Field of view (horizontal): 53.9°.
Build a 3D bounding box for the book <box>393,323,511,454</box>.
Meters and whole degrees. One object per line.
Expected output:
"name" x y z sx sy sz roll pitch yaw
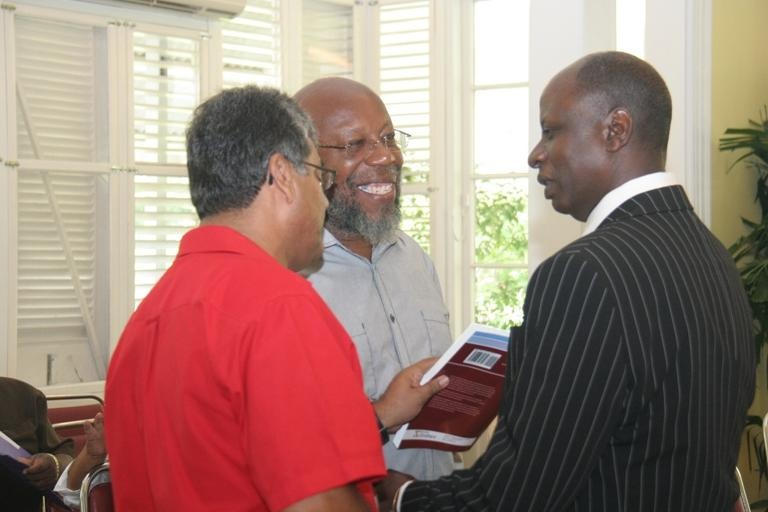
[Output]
"book" 0.224 0.425 2.321 0.260 0.456 0.114 28 34 -16
